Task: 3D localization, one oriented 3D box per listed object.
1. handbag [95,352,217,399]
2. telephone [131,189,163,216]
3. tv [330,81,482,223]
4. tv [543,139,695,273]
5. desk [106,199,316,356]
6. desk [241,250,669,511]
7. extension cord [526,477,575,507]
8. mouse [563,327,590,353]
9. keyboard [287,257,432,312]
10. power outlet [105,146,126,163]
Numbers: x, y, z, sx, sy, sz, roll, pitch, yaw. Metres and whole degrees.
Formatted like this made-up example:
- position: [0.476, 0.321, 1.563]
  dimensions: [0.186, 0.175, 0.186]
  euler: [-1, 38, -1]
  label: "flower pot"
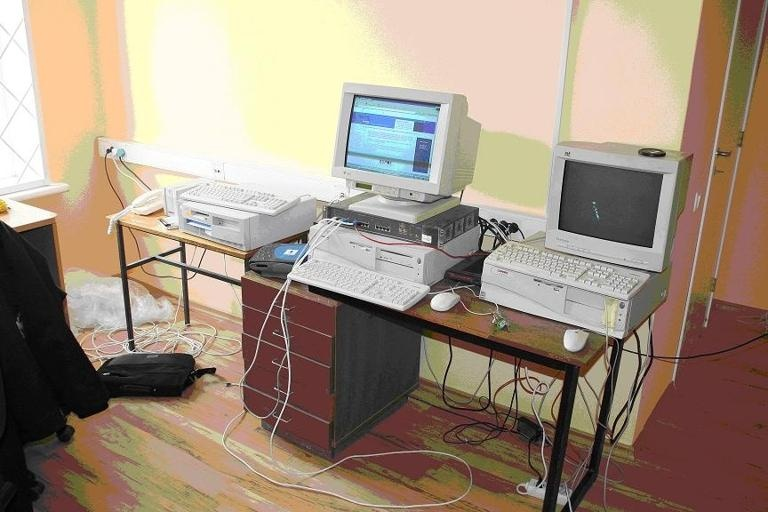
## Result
- position: [-1.441, 0.722, 3.280]
  dimensions: [0.485, 0.109, 0.299]
  euler: [1, 17, -9]
  label: "handbag"
- position: [-1.509, -0.365, 3.510]
  dimensions: [0.155, 0.090, 0.261]
  euler: [20, 33, 27]
  label: "telephone"
- position: [0.100, -0.543, 2.648]
  dimensions: [0.719, 0.566, 0.309]
  euler: [8, 21, 5]
  label: "tv"
- position: [1.044, -0.303, 2.624]
  dimensions: [0.784, 0.658, 0.620]
  euler: [15, 27, 33]
  label: "tv"
- position: [-1.093, 0.153, 3.384]
  dimensions: [0.968, 0.830, 0.586]
  euler: [15, 29, 24]
  label: "desk"
- position: [0.450, 0.572, 2.612]
  dimensions: [1.372, 1.231, 0.562]
  euler: [14, 22, 20]
  label: "desk"
- position: [0.841, 1.191, 2.687]
  dimensions: [0.217, 0.056, 0.112]
  euler: [6, 18, 25]
  label: "extension cord"
- position: [0.814, 0.349, 2.246]
  dimensions: [0.094, 0.065, 0.147]
  euler: [15, 21, 24]
  label: "mouse"
- position: [-0.121, 0.220, 2.599]
  dimensions: [0.665, 0.063, 0.222]
  euler: [13, 39, 27]
  label: "keyboard"
- position: [-2.140, -0.820, 4.233]
  dimensions: [0.230, 0.132, 0.084]
  euler: [18, 24, 31]
  label: "power outlet"
